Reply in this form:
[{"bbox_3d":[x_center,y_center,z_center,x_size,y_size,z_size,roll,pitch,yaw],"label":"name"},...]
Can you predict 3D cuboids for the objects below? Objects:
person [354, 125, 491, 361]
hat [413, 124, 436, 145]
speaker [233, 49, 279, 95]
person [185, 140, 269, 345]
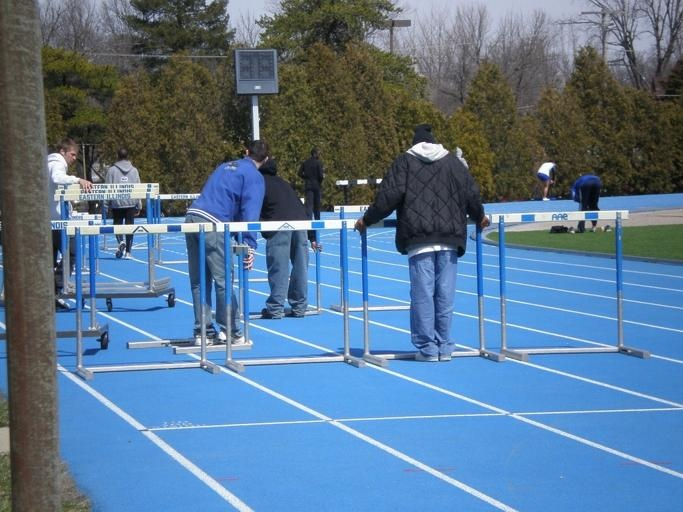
[{"bbox_3d":[0.930,-0.029,10.490,1.211,2.348,0.496,-1,7,0],"label":"person"},{"bbox_3d":[0.922,-1.334,10.676,0.227,0.213,0.186,3,-4,-17],"label":"hat"},{"bbox_3d":[-2.102,-4.513,23.727,0.995,1.149,0.409,-1,-2,-17],"label":"speaker"},{"bbox_3d":[-1.265,-0.107,10.737,0.910,2.277,1.032,-2,8,-7],"label":"person"}]
